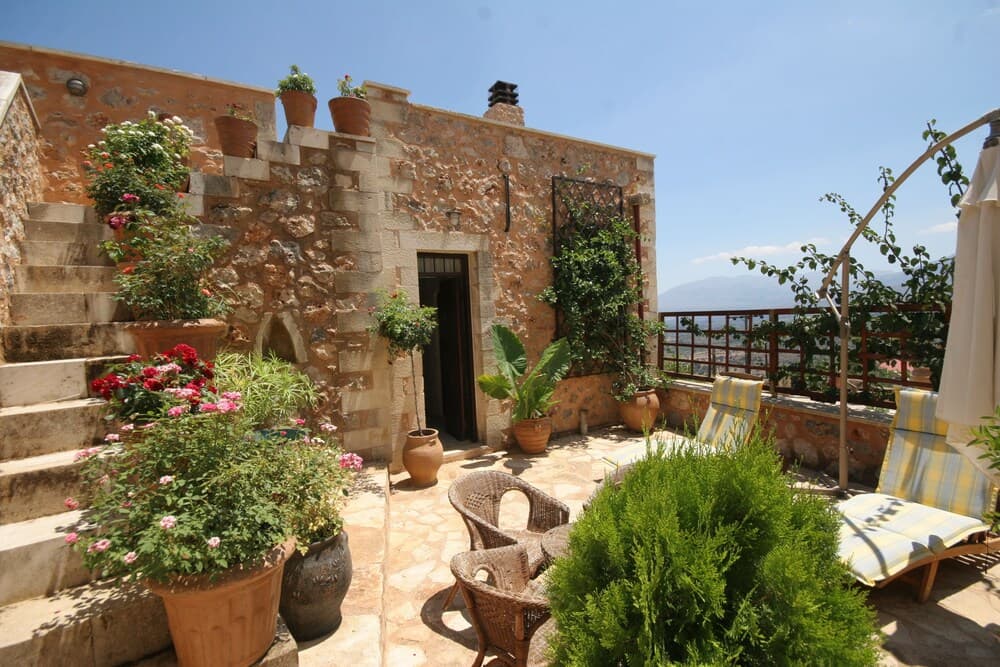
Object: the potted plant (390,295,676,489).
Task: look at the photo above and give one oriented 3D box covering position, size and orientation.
[{"bbox_3d":[-0.193,0.824,8.361,1.865,1.440,2.786,4,7,43],"label":"potted plant"}]
